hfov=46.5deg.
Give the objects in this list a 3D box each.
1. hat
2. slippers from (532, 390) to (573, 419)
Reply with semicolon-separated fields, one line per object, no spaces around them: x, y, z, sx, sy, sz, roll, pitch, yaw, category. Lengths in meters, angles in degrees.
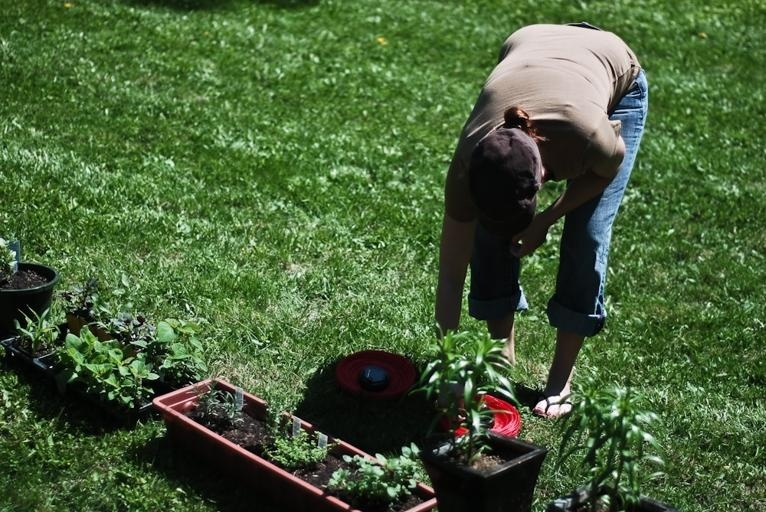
0.743;-0.439;5.439;0.399;0.616;0.307;0;20;10;hat
1.208;1.067;6.377;0.222;0.188;0.448;-1;5;9;slippers
